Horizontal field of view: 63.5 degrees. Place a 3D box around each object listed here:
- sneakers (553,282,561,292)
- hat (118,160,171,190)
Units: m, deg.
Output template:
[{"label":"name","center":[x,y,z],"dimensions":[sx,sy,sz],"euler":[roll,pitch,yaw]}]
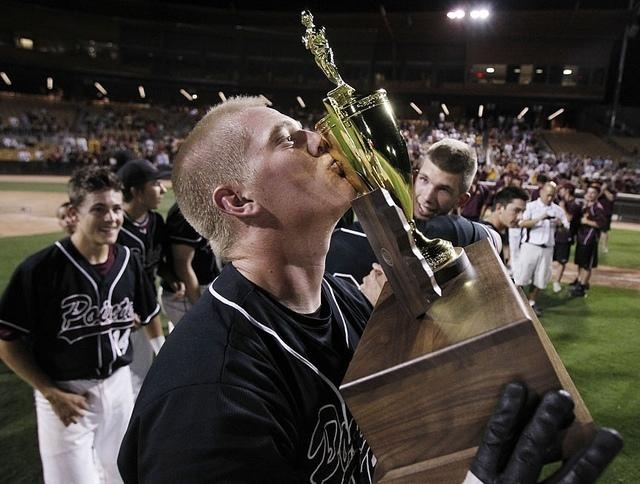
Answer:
[{"label":"sneakers","center":[3.853,0.730,8.407],"dimensions":[0.103,0.092,0.210],"euler":[-26,7,25]},{"label":"hat","center":[-1.562,-0.616,4.625],"dimensions":[0.379,0.231,0.292],"euler":[-10,24,-17]}]
